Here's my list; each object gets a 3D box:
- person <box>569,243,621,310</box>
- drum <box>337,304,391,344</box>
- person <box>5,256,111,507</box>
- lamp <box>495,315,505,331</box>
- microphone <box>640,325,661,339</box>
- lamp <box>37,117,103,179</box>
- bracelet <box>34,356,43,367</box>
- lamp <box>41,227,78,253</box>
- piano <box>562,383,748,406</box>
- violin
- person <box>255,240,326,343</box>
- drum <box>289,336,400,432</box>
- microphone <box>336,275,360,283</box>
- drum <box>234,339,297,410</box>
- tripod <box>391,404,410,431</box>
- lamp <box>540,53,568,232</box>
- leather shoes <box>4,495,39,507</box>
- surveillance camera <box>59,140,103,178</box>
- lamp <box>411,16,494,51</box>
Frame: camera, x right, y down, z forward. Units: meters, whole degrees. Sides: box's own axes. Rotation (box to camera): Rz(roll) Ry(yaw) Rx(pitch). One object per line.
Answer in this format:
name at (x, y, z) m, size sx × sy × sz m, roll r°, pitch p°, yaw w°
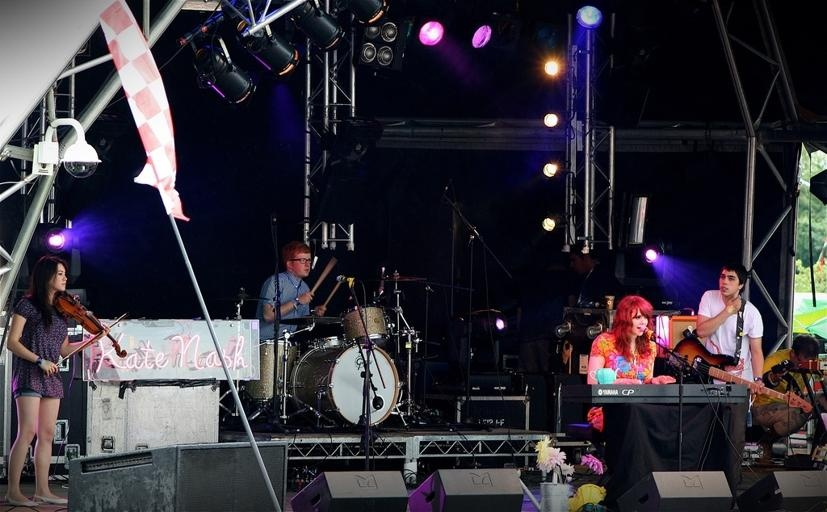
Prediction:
person at (2.594, 0.211, 18.047) m, size 0.681 × 0.724 × 0.795 m, roll 6°, pitch 5°, yaw -2°
drum at (-0.537, 0.848, 15.390) m, size 0.498 × 0.315 × 0.475 m, roll -3°, pitch -14°, yaw -1°
person at (-4.084, 1.372, 13.652) m, size 0.744 × 2.699 × 0.410 m, roll -1°, pitch -7°, yaw -17°
lamp at (1.150, 0.920, 16.639) m, size 0.161 × 0.145 × 0.035 m, roll 2°, pitch -13°, yaw -26°
microphone at (2.663, 0.871, 14.090) m, size 0.119 × 0.126 × 0.340 m, roll -20°, pitch 1°, yaw -20°
lamp at (-3.874, -1.184, 13.880) m, size 0.871 × 0.621 × 0.327 m, roll 3°, pitch 6°, yaw 30°
bracelet at (-4.057, 1.153, 13.521) m, size 0.066 × 0.093 × 0.096 m, roll 4°, pitch -8°, yaw -28°
lamp at (-4.684, -0.194, 16.349) m, size 0.350 × 0.316 × 0.109 m, roll 9°, pitch -2°, yaw -28°
piano at (2.660, 1.506, 13.513) m, size 2.003 × 0.274 × 0.458 m, roll -1°, pitch -7°, yaw -15°
violin at (-3.508, 0.821, 13.861) m, size 1.101 × 0.403 × 0.243 m, roll 46°, pitch -30°, yaw -23°
person at (-1.537, 0.430, 15.674) m, size 0.881 × 1.286 × 0.966 m, roll 1°, pitch -8°, yaw -27°
drum at (-0.857, 1.518, 15.032) m, size 1.307 × 1.106 × 1.102 m, roll -3°, pitch -7°, yaw 2°
microphone at (-0.778, 0.276, 14.273) m, size 0.103 × 0.105 × 0.219 m, roll 4°, pitch 5°, yaw -45°
drum at (-1.750, 1.416, 15.327) m, size 0.761 × 0.682 × 0.719 m, roll 4°, pitch -3°, yaw -16°
tripod at (-0.161, 2.060, 15.695) m, size 0.249 × 0.280 × 0.287 m, roll 2°, pitch -40°, yaw 3°
lamp at (1.962, -1.567, 17.669) m, size 0.328 × 2.318 × 0.873 m, roll -3°, pitch -7°, yaw 2°
leather shoes at (-4.285, 2.666, 13.556) m, size 0.381 × 0.124 × 0.133 m, roll 1°, pitch -5°, yaw -1°
surveillance camera at (-3.652, -1.083, 13.624) m, size 0.341 × 0.323 × 0.508 m, roll -1°, pitch -7°, yaw -16°
lamp at (0.577, -3.048, 17.268) m, size 1.023 × 0.390 × 0.700 m, roll -3°, pitch -7°, yaw 4°
